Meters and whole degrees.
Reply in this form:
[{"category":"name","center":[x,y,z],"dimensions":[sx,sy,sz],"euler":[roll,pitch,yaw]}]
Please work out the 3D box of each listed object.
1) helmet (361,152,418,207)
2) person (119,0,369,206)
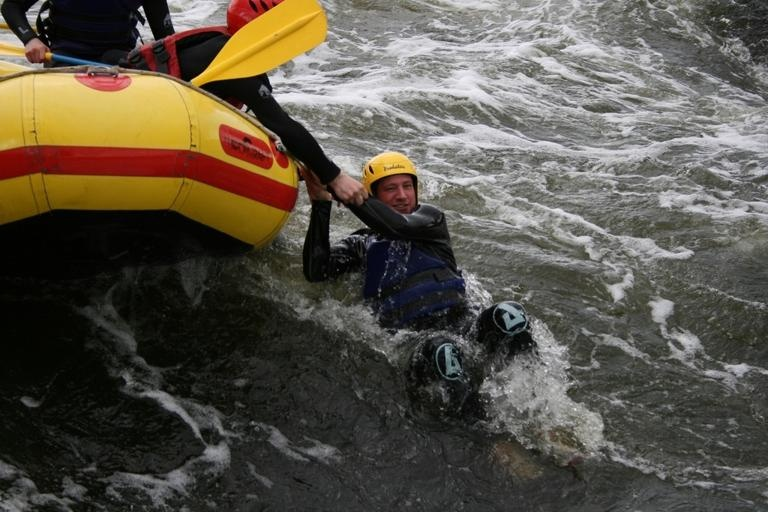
[{"category":"helmet","center":[0.032,-0.610,6.748],"dimensions":[0.418,0.470,0.338],"euler":[-3,69,-12]},{"category":"person","center":[-0.911,-0.949,6.110],"dimensions":[1.700,1.409,0.610],"euler":[67,28,-12]}]
